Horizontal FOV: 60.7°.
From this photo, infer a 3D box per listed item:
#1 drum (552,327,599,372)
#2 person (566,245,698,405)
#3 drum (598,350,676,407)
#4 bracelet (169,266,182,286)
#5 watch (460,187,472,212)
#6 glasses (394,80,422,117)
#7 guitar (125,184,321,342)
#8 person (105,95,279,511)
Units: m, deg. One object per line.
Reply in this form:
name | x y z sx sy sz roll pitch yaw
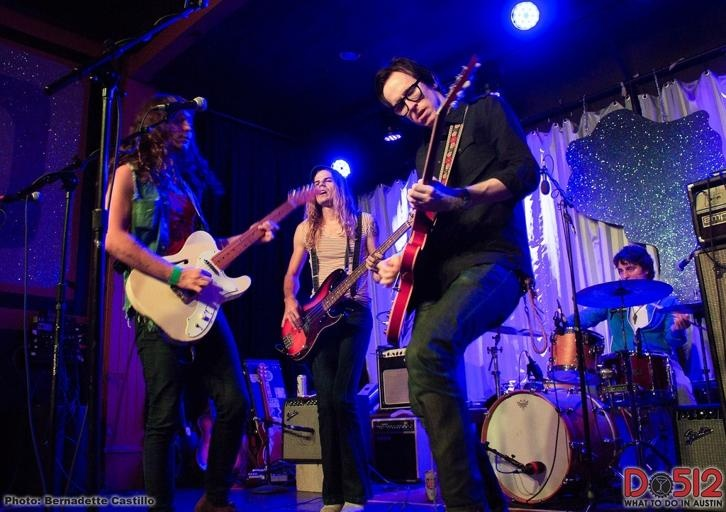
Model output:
drum | 1.947 0.860 5.639 0.356 0.318 0.400 2 -10 6
person | 2.660 0.708 5.991 0.817 1.279 0.717 -28 -63 40
drum | 2.396 1.067 5.427 0.494 0.351 0.536 -2 -19 -1
bracelet | -1.315 0.138 4.315 0.085 0.129 0.053 -9 -20 23
watch | 0.630 -0.346 3.754 0.058 0.111 0.105 -3 -14 3
glasses | 0.296 -1.051 4.155 0.062 0.206 0.210 31 -42 -5
guitar | -1.080 0.022 4.709 0.556 1.389 0.163 44 -32 -5
person | -1.310 0.256 4.441 1.130 2.949 0.701 11 -21 -30
